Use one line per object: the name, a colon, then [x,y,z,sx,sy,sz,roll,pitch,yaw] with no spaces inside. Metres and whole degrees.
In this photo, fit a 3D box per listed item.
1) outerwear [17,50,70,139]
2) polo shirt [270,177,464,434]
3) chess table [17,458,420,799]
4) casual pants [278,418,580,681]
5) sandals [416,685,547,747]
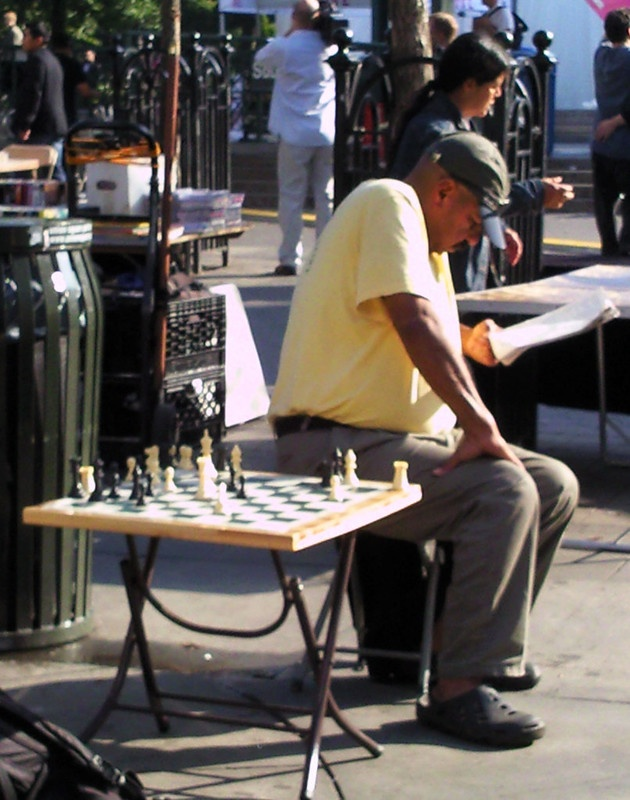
outerwear: [-2.349,-2.625,12.438,0.336,0.833,0.596,8,11,36]
polo shirt: [0.169,-0.251,4.175,0.486,0.679,0.822,7,0,9]
chess table: [-0.238,0.542,3.608,0.928,0.769,0.890,3,4,28]
casual pants: [0.310,0.405,4.077,0.775,0.694,0.546,6,-2,31]
sandals: [0.443,0.851,3.809,0.280,0.111,0.150,2,-3,30]
